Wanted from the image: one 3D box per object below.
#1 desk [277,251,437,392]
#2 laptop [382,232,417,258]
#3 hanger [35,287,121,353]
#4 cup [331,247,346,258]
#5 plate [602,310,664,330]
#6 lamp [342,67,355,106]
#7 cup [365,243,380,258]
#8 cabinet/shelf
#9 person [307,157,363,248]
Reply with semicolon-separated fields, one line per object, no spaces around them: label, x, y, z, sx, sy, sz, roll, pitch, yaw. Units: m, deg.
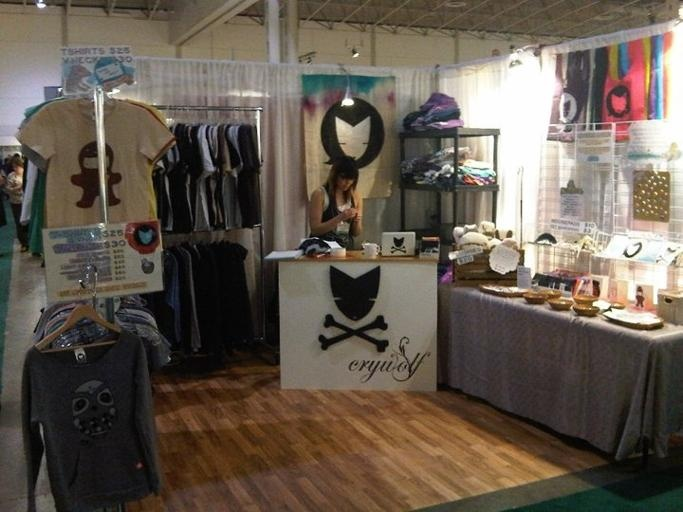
desk;0.121;0.530;4.496;1.328;1.177;0.531;-1;16;1
laptop;0.478;-0.097;4.315;0.335;0.228;0.182;1;3;-1
hanger;-1.182;0.294;2.324;0.020;0.140;0.295;18;18;37
cup;-0.016;-0.034;4.317;0.086;0.053;0.084;1;6;0
plate;1.895;0.406;3.364;0.277;0.054;0.332;-5;10;-23
lamp;0.056;-1.755;5.373;0.121;0.397;0.123;0;9;7
cup;0.264;-0.044;4.383;0.123;0.092;0.094;-1;7;-8
cabinet/shelf;1.117;-0.745;5.467;0.599;1.149;0.907;-7;12;-28
person;-0.067;-0.535;5.217;0.524;0.915;0.588;-1;9;1
